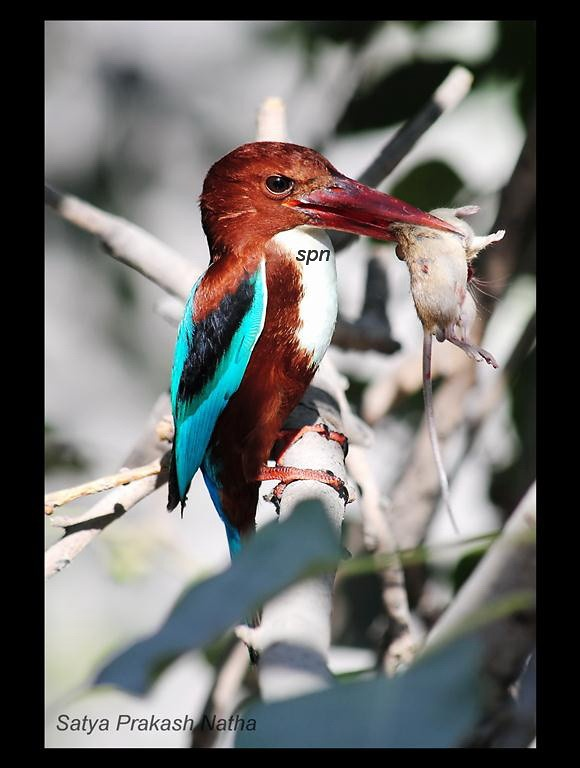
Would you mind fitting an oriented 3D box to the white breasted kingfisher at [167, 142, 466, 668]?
[{"bbox_3d":[-0.038,-0.059,2.166,0.436,0.713,0.374,16,-19,0],"label":"white breasted kingfisher"}]

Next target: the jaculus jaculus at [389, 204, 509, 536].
[{"bbox_3d":[0.268,-0.078,2.272,0.241,0.507,0.231,3,22,1],"label":"jaculus jaculus"}]
